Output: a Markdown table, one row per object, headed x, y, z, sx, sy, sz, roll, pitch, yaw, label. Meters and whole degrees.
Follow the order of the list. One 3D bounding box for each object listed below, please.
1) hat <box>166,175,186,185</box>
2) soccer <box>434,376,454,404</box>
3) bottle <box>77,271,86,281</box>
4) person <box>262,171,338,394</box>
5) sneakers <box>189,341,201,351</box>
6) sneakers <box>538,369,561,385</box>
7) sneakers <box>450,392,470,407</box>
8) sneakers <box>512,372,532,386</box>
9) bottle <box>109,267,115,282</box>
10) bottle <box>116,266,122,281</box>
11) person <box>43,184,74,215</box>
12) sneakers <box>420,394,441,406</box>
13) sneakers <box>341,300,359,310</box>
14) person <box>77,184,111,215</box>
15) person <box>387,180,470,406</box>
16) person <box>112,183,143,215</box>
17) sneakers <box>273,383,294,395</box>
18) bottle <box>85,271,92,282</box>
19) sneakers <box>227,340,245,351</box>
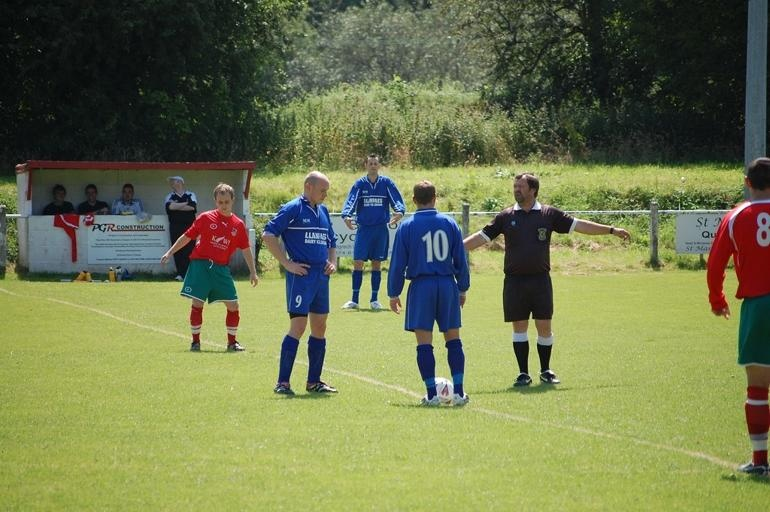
| x | y | z | sx | sy | sz | roll | pitch | yaw | label |
| --- | --- | --- | --- | --- | --- | --- | --- | --- | --- |
| -5.691 | -2.111 | 32.267 | 0.287 | 0.248 | 0.400 | 7 | 22 | 44 | hat |
| 1.204 | 2.648 | 22.970 | 0.352 | 0.458 | 0.417 | -4 | -5 | -3 | soccer |
| -8.326 | 0.530 | 31.922 | 0.241 | 0.239 | 0.483 | 0 | 3 | -15 | bottle |
| -1.645 | 0.506 | 23.529 | 1.357 | 4.445 | 0.654 | 0 | 2 | -6 | person |
| -4.145 | 1.957 | 25.408 | 0.212 | 0.220 | 0.151 | 1 | -2 | 17 | sneakers |
| 3.416 | 2.462 | 23.838 | 0.384 | 0.167 | 0.217 | 2 | 5 | 40 | sneakers |
| 1.515 | 2.813 | 22.918 | 0.321 | 0.225 | 0.185 | -11 | 13 | 0 | sneakers |
| 2.858 | 2.498 | 23.789 | 0.372 | 0.242 | 0.260 | 1 | 3 | 5 | sneakers |
| -7.540 | 0.473 | 32.228 | 0.209 | 0.357 | 0.594 | 0 | 3 | -17 | bottle |
| -7.347 | 0.454 | 32.308 | 0.184 | 0.364 | 0.467 | 0 | 3 | -13 | bottle |
| -9.264 | -1.609 | 32.876 | 0.776 | 0.734 | 0.416 | 2 | -19 | -26 | person |
| 0.927 | 2.833 | 22.962 | 0.399 | 0.192 | 0.165 | 3 | 3 | 24 | sneakers |
| -0.819 | 1.217 | 29.090 | 0.359 | 0.158 | 0.188 | 3 | -4 | -7 | sneakers |
| -8.331 | -1.639 | 33.115 | 0.817 | 0.766 | 0.399 | 0 | -14 | -15 | person |
| 0.928 | 0.697 | 23.108 | 1.553 | 4.367 | 0.621 | 1 | 2 | 3 | person |
| -7.298 | -1.492 | 32.972 | 1.001 | 1.292 | 0.845 | 0 | -10 | -10 | person |
| -2.002 | 2.653 | 23.302 | 0.194 | 0.174 | 0.405 | 0 | 7 | -28 | sneakers |
| -8.157 | 0.533 | 32.069 | 0.161 | 0.231 | 0.590 | 0 | 3 | -14 | bottle |
| -3.250 | 1.964 | 25.460 | 0.335 | 0.156 | 0.189 | -1 | -1 | 26 | sneakers |
